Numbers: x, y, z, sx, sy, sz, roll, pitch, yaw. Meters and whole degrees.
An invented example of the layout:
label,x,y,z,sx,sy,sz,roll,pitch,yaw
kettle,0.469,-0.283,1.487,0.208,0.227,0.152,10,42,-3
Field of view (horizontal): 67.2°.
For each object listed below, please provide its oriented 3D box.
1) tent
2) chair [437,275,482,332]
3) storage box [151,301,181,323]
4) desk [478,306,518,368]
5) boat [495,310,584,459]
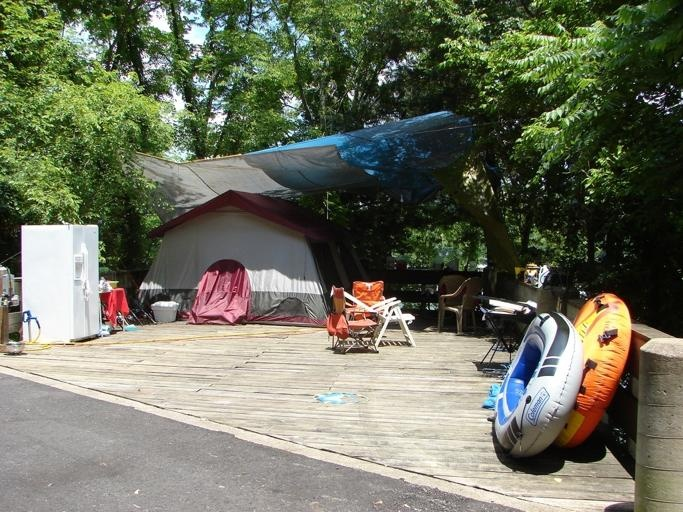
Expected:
label,x,y,z,sx,sy,sz,roll,pitch,yaw
tent,-2.036,0.113,11.406,3.152,1.873,3.618,0,1,10
chair,2.428,0.930,10.558,0.819,1.090,1.687,2,2,12
storage box,-3.751,1.171,10.919,0.492,0.354,0.425,0,-1,-8
desk,2.368,1.232,7.745,0.491,0.564,0.848,-2,0,3
boat,1.630,0.928,4.202,0.288,0.999,1.054,31,34,-4
